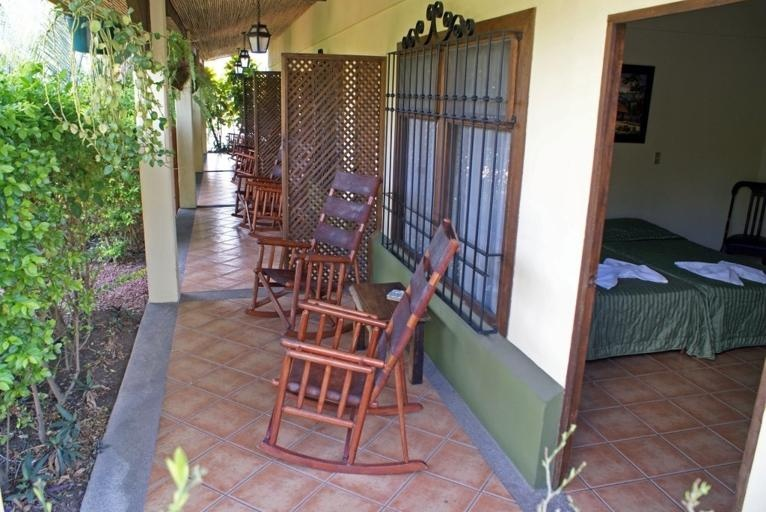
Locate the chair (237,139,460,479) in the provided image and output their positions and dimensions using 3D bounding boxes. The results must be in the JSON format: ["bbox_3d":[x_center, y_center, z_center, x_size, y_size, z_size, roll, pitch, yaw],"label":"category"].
[{"bbox_3d":[-0.192,0.405,3.549,1.168,1.494,1.491,1,17,-5],"label":"chair"}]

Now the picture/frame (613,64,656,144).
[{"bbox_3d":[3.024,-1.844,6.111,0.479,0.916,0.156,-3,17,-17],"label":"picture/frame"}]
